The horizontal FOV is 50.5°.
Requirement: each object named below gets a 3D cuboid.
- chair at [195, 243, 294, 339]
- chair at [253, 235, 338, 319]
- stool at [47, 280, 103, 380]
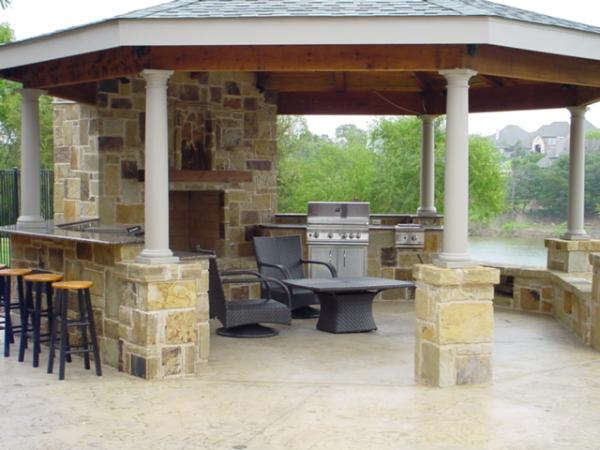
[{"bbox_3d":[-0.568,0.761,7.266,1.080,1.155,0.855,1,1,-23],"label":"chair"},{"bbox_3d":[-0.085,0.646,7.994,0.721,1.003,0.953,-2,2,-34],"label":"chair"},{"bbox_3d":[-2.159,0.926,6.034,0.491,0.851,0.979,-3,7,-22],"label":"stool"}]
